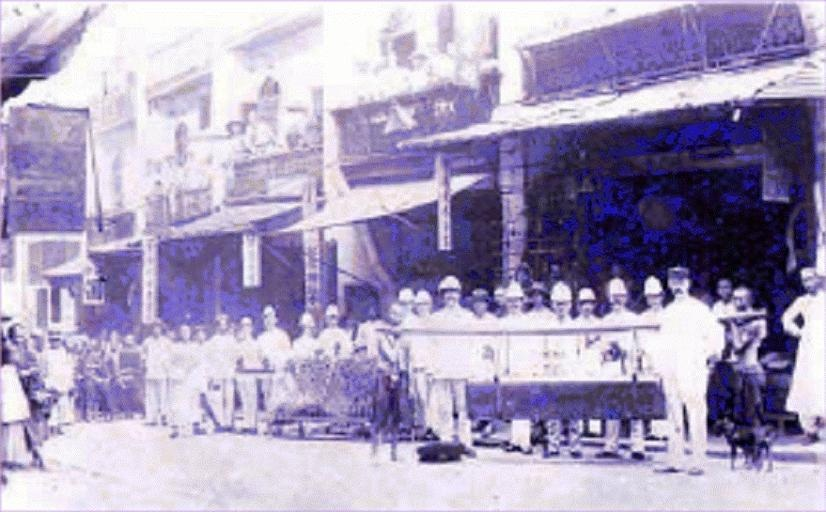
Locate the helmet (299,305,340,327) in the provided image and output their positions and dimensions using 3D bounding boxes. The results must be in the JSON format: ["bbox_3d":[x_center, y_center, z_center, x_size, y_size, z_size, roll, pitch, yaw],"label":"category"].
[{"bbox_3d":[-1.369,0.894,25.524,0.564,0.267,0.297,-10,12,-10],"label":"helmet"}]
